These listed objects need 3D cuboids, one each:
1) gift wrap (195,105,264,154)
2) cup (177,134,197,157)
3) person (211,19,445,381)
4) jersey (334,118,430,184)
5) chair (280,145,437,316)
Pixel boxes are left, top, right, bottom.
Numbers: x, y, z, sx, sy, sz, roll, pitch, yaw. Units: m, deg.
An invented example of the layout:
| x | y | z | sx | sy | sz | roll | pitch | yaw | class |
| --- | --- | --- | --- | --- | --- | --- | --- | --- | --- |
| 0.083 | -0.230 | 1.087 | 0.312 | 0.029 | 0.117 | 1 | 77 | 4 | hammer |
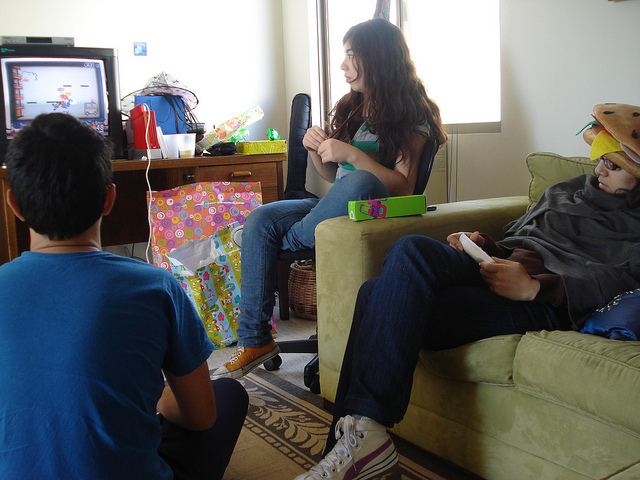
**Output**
| x | y | z | sx | sy | sz | roll | pitch | yaw | class |
| --- | --- | --- | --- | --- | --- | --- | --- | --- | --- |
| -0.561 | -0.677 | 2.940 | 0.206 | 0.268 | 0.411 | 6 | 14 | 40 | gift wrap |
| -0.733 | -0.520 | 2.670 | 0.104 | 0.123 | 0.111 | -2 | 0 | 0 | cup |
| 0.028 | -0.187 | 2.074 | 0.983 | 1.518 | 0.660 | 3 | 1 | -31 | person |
| 0.254 | -0.372 | 1.993 | 0.358 | 0.348 | 0.217 | 3 | 11 | 7 | jersey |
| 0.164 | -0.018 | 2.648 | 0.769 | 1.091 | 0.737 | -2 | 12 | 10 | chair |
